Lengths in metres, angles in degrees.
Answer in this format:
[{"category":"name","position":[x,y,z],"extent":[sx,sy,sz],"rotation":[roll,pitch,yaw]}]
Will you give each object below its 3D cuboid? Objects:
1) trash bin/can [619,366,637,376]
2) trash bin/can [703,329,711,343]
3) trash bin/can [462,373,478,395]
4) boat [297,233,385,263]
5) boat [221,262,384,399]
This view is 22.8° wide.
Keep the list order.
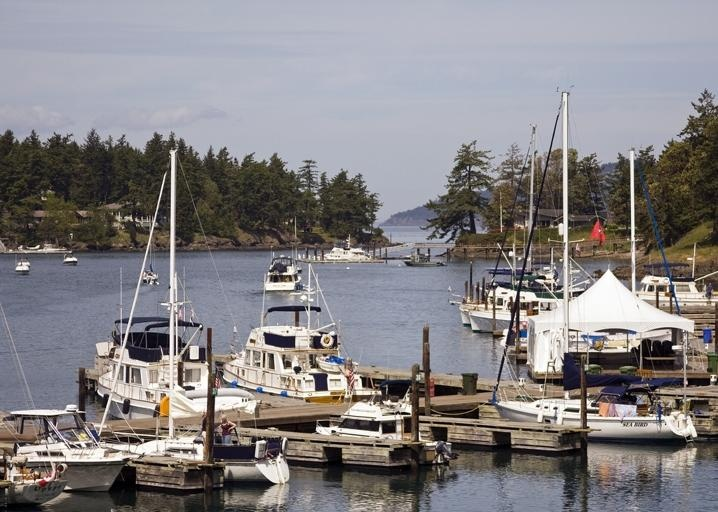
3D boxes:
[{"category":"trash bin/can","position":[18.336,7.693,120.443],"extent":[1.226,0.540,1.334],"rotation":[2,-4,-14]},{"category":"trash bin/can","position":[24.873,5.610,126.935],"extent":[0.481,1.044,1.287],"rotation":[0,-4,8]},{"category":"trash bin/can","position":[7.534,8.564,119.866],"extent":[1.050,1.486,1.448],"rotation":[4,-5,-38]},{"category":"boat","position":[-2.468,-0.460,263.151],"extent":[9.672,3.056,6.607],"rotation":[1,-1,-8]},{"category":"boat","position":[-3.252,6.952,123.121],"extent":[11.345,8.832,10.238],"rotation":[-9,4,-22]}]
